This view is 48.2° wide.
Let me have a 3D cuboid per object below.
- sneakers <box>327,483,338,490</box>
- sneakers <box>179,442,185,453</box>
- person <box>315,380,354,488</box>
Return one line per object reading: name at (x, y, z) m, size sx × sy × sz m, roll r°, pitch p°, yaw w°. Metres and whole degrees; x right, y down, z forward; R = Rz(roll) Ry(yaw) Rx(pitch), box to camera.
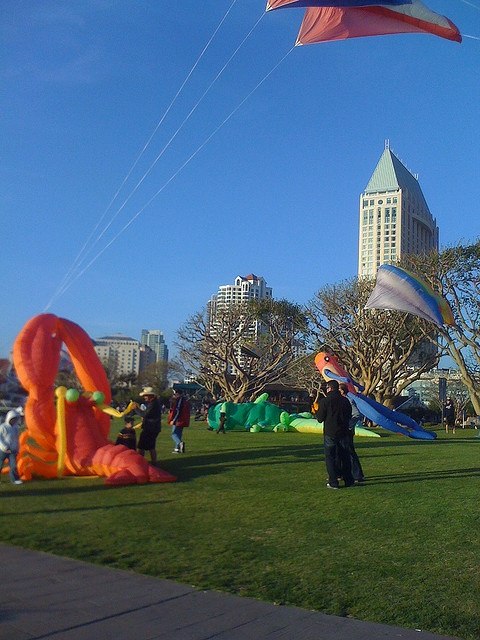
sneakers at (1.642, 2.917, 9.471) m, size 0.200 × 0.097 × 0.240 m, roll -1°, pitch -7°, yaw 9°
sneakers at (-1.713, 3.720, 15.590) m, size 0.158 × 0.333 × 0.132 m, roll 1°, pitch 20°, yaw 27°
person at (1.722, 2.045, 9.704) m, size 0.546 × 1.891 × 0.785 m, roll -3°, pitch -9°, yaw 20°
